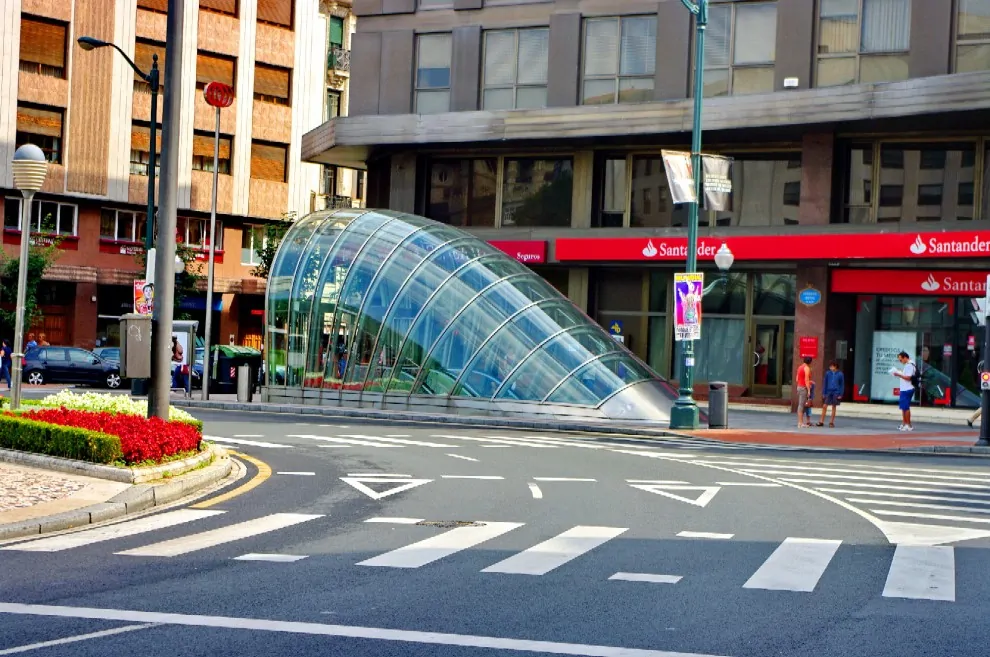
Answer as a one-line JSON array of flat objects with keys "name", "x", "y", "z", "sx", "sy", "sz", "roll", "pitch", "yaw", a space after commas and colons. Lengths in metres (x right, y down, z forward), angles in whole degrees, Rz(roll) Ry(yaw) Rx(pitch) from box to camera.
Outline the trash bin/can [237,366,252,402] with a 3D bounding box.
[{"name": "trash bin/can", "x": -8.072, "y": 1.776, "z": 40.136, "sx": 0.410, "sy": 1.085, "sz": 0.979, "roll": 0, "pitch": 5, "yaw": -13}]

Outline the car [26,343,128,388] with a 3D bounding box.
[{"name": "car", "x": -15.501, "y": 1.463, "z": 45.963, "sx": 3.494, "sy": 1.430, "sz": 1.744, "roll": 0, "pitch": 0, "yaw": -11}]

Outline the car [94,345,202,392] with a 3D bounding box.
[{"name": "car", "x": -9.799, "y": 1.234, "z": 35.471, "sx": 2.976, "sy": 1.564, "sz": 1.727, "roll": -1, "pitch": 1, "yaw": 0}]

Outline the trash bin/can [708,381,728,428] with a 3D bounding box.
[{"name": "trash bin/can", "x": 5.994, "y": 2.105, "z": 33.726, "sx": 0.450, "sy": 1.225, "sz": 0.314, "roll": 1, "pitch": 5, "yaw": -1}]
